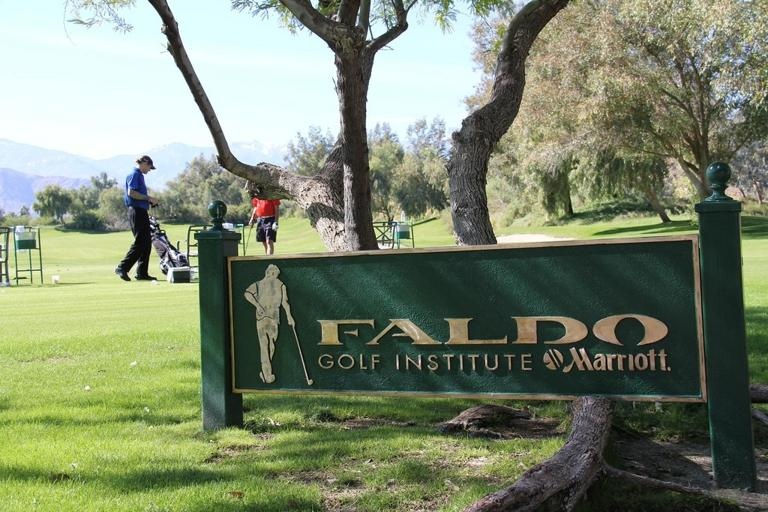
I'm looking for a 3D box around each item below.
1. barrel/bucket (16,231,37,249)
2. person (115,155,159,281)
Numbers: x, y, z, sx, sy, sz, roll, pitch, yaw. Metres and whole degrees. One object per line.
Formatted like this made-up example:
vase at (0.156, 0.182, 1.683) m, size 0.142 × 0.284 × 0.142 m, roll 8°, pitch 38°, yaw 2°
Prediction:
barrel/bucket at (-11.592, -0.500, 26.463) m, size 0.640 × 0.663 × 0.578 m, roll 2°, pitch -7°, yaw -39°
person at (-4.609, -0.709, 15.414) m, size 0.720 × 2.341 × 0.868 m, roll 1°, pitch 3°, yaw 4°
